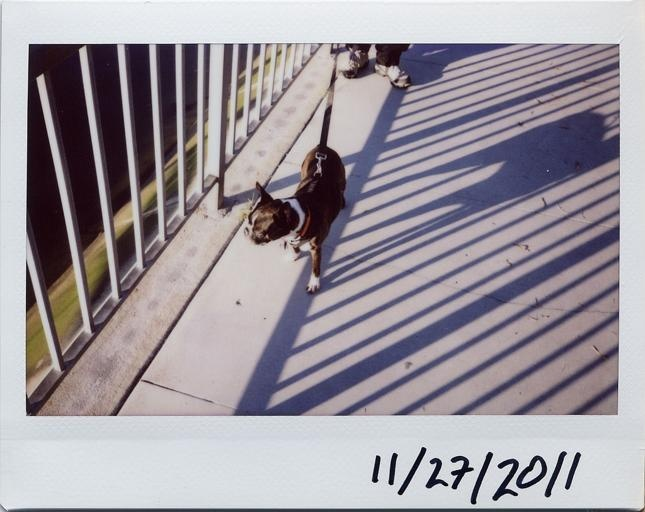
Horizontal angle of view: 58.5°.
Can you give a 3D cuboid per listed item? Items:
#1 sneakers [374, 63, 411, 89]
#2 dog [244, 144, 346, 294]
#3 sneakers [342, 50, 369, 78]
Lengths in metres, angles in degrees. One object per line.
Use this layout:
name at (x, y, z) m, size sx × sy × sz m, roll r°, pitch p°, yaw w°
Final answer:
sneakers at (0.422, -1.038, 3.403) m, size 0.239 × 0.108 × 0.112 m, roll 32°, pitch 8°, yaw 15°
dog at (-0.026, -0.076, 2.679) m, size 0.221 × 0.455 × 0.574 m, roll -14°, pitch 4°, yaw 41°
sneakers at (0.189, -1.119, 3.366) m, size 0.143 × 0.055 × 0.103 m, roll -29°, pitch 18°, yaw -7°
